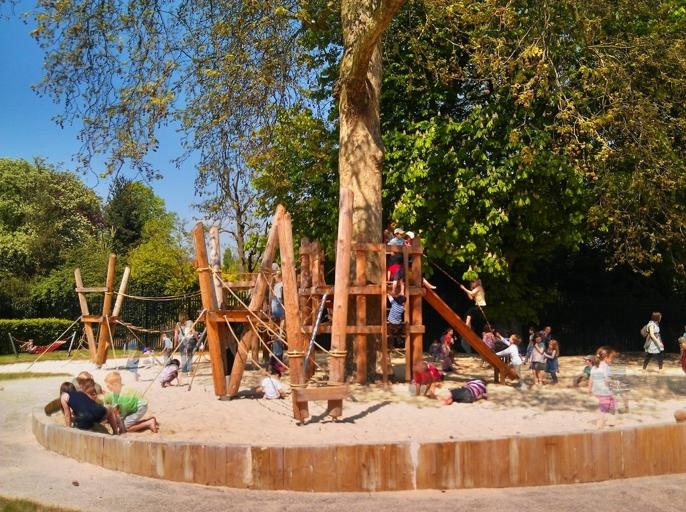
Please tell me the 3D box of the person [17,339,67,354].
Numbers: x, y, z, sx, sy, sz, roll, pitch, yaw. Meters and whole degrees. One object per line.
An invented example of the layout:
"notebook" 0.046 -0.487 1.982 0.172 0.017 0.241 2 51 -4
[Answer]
"person" -13.648 4.059 30.269 1.948 0.809 0.781 -1 -8 7

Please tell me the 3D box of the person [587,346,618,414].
"person" 5.711 2.754 14.796 0.488 1.439 1.111 -3 -8 23
